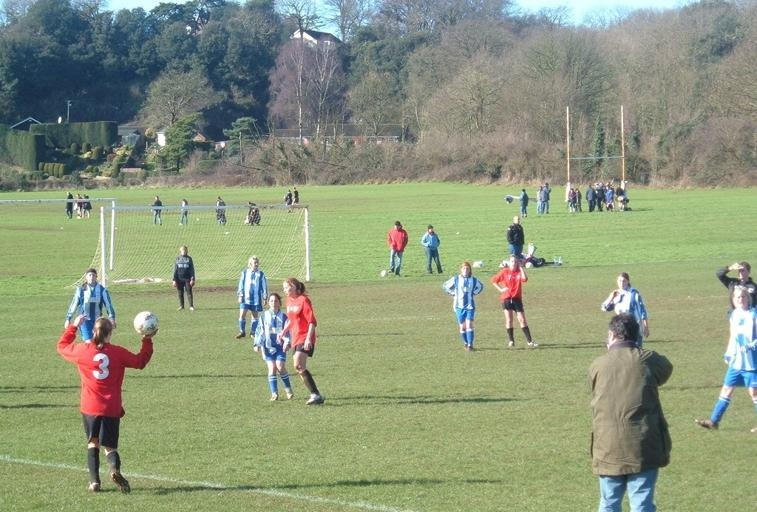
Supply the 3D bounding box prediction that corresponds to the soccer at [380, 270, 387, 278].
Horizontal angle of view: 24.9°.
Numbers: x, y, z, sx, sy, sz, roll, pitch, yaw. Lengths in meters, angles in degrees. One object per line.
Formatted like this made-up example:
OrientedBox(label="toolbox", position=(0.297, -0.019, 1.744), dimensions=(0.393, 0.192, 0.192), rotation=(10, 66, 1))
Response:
OrientedBox(label="soccer", position=(0.547, 1.629, 152.964), dimensions=(0.283, 0.505, 0.720), rotation=(9, 6, -23))
